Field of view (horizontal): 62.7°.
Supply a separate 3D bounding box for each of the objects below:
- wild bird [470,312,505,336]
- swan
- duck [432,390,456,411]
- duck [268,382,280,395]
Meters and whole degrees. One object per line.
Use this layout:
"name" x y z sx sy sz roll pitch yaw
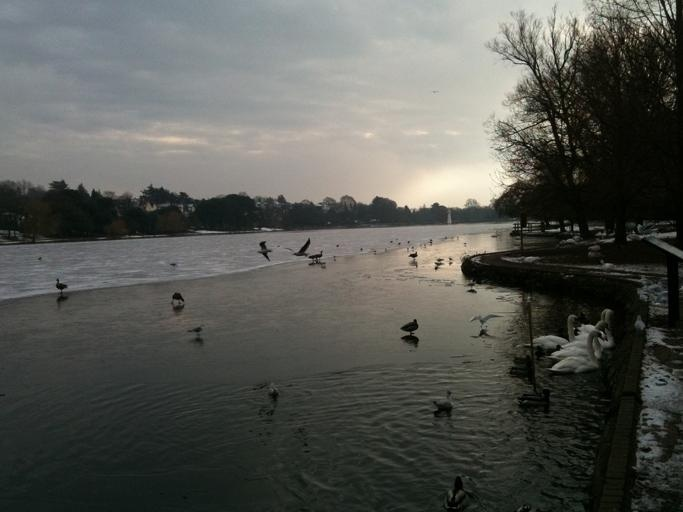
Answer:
"wild bird" 6.116 2.913 24.036 1.667 0.590 0.849 -8 3 -10
"swan" 8.170 2.937 19.462 3.940 2.342 1.430 -2 5 -34
"duck" 2.899 4.126 15.920 0.634 0.610 0.414 2 6 7
"duck" -2.126 4.185 17.552 0.256 0.361 0.222 2 18 -2
